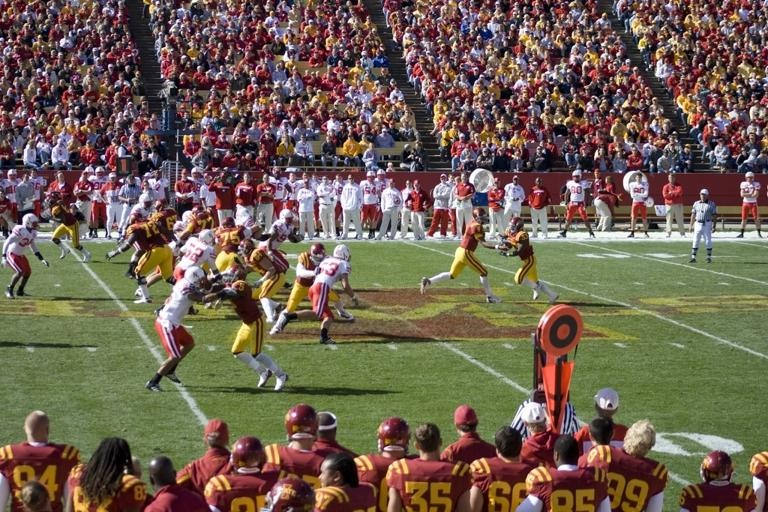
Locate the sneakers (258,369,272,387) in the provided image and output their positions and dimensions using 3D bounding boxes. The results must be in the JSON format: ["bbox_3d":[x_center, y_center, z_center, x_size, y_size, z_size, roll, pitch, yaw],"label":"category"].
[{"bbox_3d":[-2.271,2.289,27.222,0.137,0.388,0.198,26,7,28],"label":"sneakers"}]

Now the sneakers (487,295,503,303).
[{"bbox_3d":[2.445,0.962,32.162,0.324,0.139,0.127,-2,5,-34],"label":"sneakers"}]

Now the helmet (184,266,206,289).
[{"bbox_3d":[-3.538,0.342,27.195,0.394,0.343,0.313,-25,49,-16],"label":"helmet"}]

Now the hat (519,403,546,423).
[{"bbox_3d":[2.416,2.544,23.565,0.434,0.327,0.273,-1,0,10],"label":"hat"}]

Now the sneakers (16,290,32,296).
[{"bbox_3d":[-7.903,0.808,31.990,0.357,0.207,0.113,-1,21,-13],"label":"sneakers"}]

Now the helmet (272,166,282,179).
[{"bbox_3d":[-3.006,-2.341,40.870,0.278,0.328,0.326,2,3,-13],"label":"helmet"}]

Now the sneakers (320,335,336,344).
[{"bbox_3d":[-1.125,1.691,29.161,0.301,0.165,0.234,-1,0,-7],"label":"sneakers"}]

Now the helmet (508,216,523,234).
[{"bbox_3d":[2.916,-0.680,32.213,0.384,0.364,0.283,6,9,0],"label":"helmet"}]

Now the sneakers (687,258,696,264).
[{"bbox_3d":[7.839,0.111,37.077,0.172,0.129,0.342,-1,0,13],"label":"sneakers"}]

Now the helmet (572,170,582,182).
[{"bbox_3d":[5.570,-2.311,42.019,0.281,0.333,0.359,-2,-6,13],"label":"helmet"}]

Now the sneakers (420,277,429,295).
[{"bbox_3d":[0.904,0.707,32.413,0.147,0.380,0.176,5,33,0],"label":"sneakers"}]

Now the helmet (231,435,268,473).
[{"bbox_3d":[-2.121,3.088,22.669,0.417,0.432,0.541,3,12,1],"label":"helmet"}]

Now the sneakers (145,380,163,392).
[{"bbox_3d":[-4.253,2.420,26.914,0.335,0.149,0.127,3,9,-11],"label":"sneakers"}]

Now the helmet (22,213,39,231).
[{"bbox_3d":[-7.920,-0.780,32.511,0.419,0.373,0.322,4,1,-2],"label":"helmet"}]

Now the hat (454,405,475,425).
[{"bbox_3d":[1.312,2.576,23.435,0.313,0.323,0.251,-1,0,-4],"label":"hat"}]

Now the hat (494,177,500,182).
[{"bbox_3d":[3.207,-2.180,41.483,0.194,0.084,0.267,0,1,13],"label":"hat"}]

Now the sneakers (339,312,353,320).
[{"bbox_3d":[-0.829,1.270,30.650,0.348,0.140,0.134,-3,15,-11],"label":"sneakers"}]

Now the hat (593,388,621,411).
[{"bbox_3d":[3.676,2.375,23.995,0.340,0.376,0.482,-1,0,15],"label":"hat"}]

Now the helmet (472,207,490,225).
[{"bbox_3d":[2.191,-0.894,33.171,0.512,0.381,0.370,-1,10,0],"label":"helmet"}]

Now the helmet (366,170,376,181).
[{"bbox_3d":[-0.374,-2.308,41.807,0.225,0.246,0.271,0,-10,-5],"label":"helmet"}]

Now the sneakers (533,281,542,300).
[{"bbox_3d":[3.402,0.778,32.236,0.201,0.423,0.145,5,33,2],"label":"sneakers"}]

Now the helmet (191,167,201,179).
[{"bbox_3d":[-5.194,-2.275,40.235,0.264,0.323,0.331,0,-4,-8],"label":"helmet"}]

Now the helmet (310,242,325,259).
[{"bbox_3d":[-1.358,-0.096,29.946,0.291,0.302,0.359,15,4,-30],"label":"helmet"}]

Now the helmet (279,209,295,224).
[{"bbox_3d":[-2.153,-0.870,32.235,0.255,0.310,0.541,-1,0,3],"label":"helmet"}]

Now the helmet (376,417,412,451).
[{"bbox_3d":[0.152,2.820,23.147,0.417,0.423,0.554,5,13,7],"label":"helmet"}]

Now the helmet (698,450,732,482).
[{"bbox_3d":[5.237,3.301,22.996,0.424,0.471,0.522,6,19,12],"label":"helmet"}]

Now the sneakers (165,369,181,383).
[{"bbox_3d":[-3.919,2.276,27.202,0.275,0.228,0.469,-1,0,-9],"label":"sneakers"}]

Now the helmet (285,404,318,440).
[{"bbox_3d":[-1.296,2.652,23.161,0.440,0.432,0.565,0,6,-1],"label":"helmet"}]
